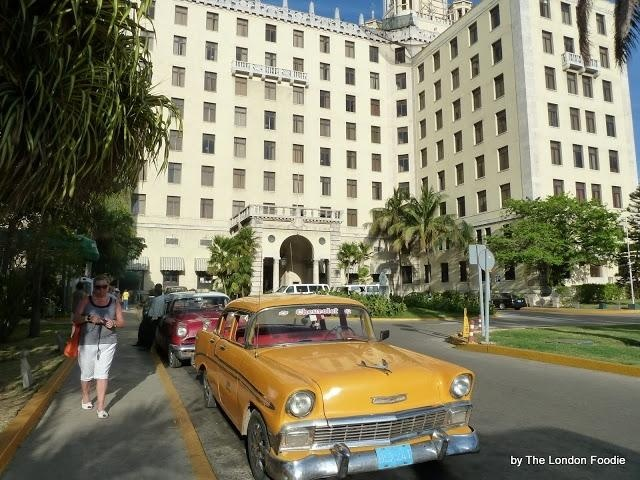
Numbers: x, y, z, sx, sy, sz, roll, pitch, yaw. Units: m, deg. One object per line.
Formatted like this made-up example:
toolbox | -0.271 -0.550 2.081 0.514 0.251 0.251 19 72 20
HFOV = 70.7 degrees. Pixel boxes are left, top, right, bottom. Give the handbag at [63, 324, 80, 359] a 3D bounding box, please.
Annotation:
handbag | -4.089 1.676 7.418 0.228 0.676 0.737 -3 8 -30

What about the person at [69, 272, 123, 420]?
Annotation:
person | -3.682 1.736 7.502 0.693 2.335 0.991 -3 8 -30

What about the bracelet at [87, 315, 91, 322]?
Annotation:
bracelet | -3.693 1.241 7.206 0.070 0.089 0.084 15 2 -34

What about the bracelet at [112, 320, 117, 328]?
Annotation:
bracelet | -3.372 1.366 7.349 0.029 0.095 0.092 2 21 31

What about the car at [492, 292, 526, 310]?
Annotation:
car | 13.397 4.595 32.114 1.312 1.037 3.189 0 0 -3

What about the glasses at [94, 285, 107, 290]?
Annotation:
glasses | -3.562 0.758 7.298 0.186 0.084 0.078 -1 7 -15
